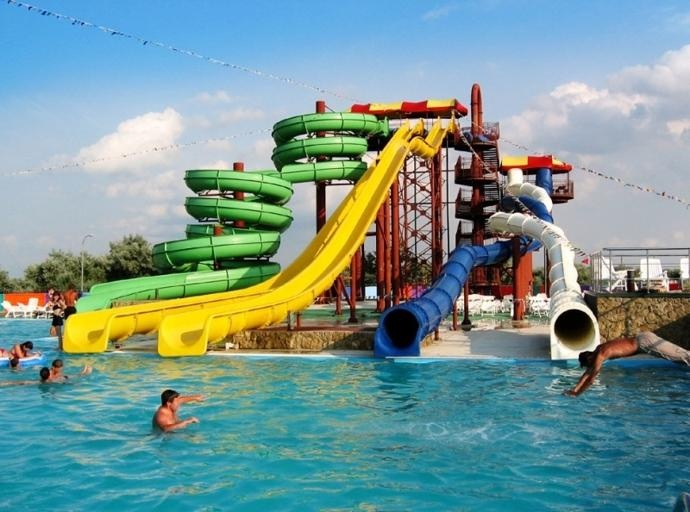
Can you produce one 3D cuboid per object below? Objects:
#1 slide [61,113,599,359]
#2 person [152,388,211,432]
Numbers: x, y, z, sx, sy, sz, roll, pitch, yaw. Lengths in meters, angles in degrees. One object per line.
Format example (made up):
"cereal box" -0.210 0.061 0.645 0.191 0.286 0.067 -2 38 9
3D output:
"slide" 0.056 -0.969 18.165 11.561 6.581 6.899 -1 -4 11
"person" -2.432 2.193 10.264 0.625 0.801 0.772 -1 24 -11
